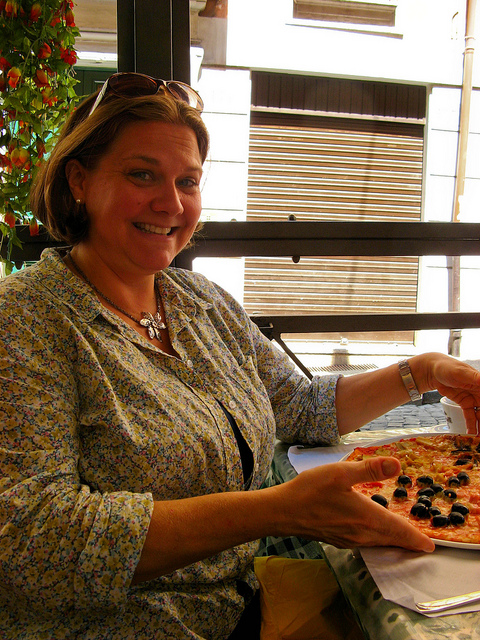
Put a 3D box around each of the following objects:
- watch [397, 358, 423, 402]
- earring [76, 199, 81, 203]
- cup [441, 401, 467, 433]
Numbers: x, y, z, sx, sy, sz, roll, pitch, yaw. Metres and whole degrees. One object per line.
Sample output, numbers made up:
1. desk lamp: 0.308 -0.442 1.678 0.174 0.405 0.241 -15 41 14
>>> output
1. watch: 0.392 0.136 1.220 0.056 0.076 0.085 -23 6 5
2. earring: -0.309 -0.230 1.013 0.004 0.004 0.005 -8 2 -39
3. cup: 0.492 0.221 1.212 0.063 0.059 0.065 1 5 0
